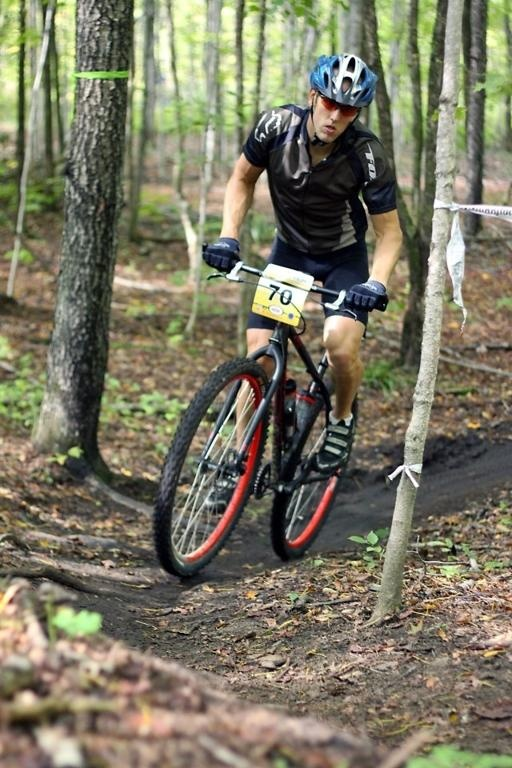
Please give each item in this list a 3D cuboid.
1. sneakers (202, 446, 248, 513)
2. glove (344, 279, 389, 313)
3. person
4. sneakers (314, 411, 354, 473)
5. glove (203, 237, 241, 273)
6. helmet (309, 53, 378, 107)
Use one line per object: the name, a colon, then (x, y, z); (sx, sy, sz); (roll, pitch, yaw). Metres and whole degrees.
sneakers: (-0.147, 0.463, 3.903); (0.134, 0.312, 0.214); (16, 49, -20)
glove: (0.461, -0.372, 3.533); (0.182, 0.092, 0.265); (-7, 4, 7)
person: (0.308, -0.483, 4.000); (1.023, 1.516, 0.988); (-6, 5, 38)
sneakers: (0.422, 0.300, 4.444); (0.174, 0.187, 0.479); (18, 30, 8)
glove: (-0.155, -0.581, 3.769); (0.161, 0.122, 0.221); (-8, 4, -1)
helmet: (0.405, -1.364, 3.692); (0.294, 0.182, 0.385); (16, 23, 2)
